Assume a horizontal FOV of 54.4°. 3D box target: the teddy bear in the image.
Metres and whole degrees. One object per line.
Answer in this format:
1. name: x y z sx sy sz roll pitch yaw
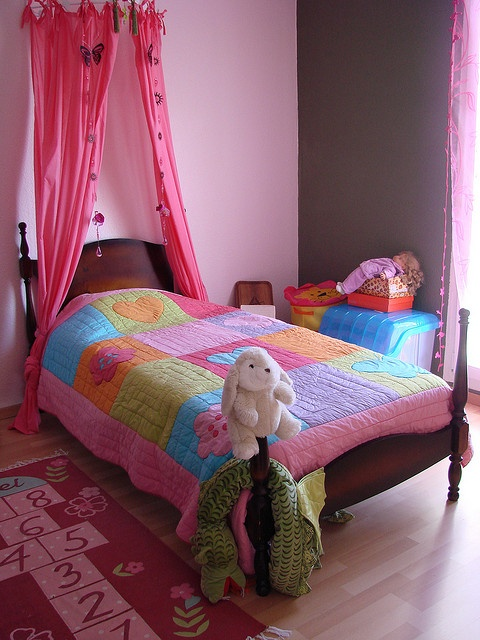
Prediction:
1. teddy bear: 0.047 0.233 1.381 0.211 0.286 0.146 -6 8 -41

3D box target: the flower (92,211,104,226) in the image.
1. flower: -0.994 -0.707 3.287 0.070 0.089 0.091 -2 8 -16

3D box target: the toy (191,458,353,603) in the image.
1. toy: 0.062 0.626 1.460 0.362 0.460 0.148 4 13 6

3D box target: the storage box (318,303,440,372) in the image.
1. storage box: 0.975 -0.086 3.274 0.595 0.644 0.481 15 22 41

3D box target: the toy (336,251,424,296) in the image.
1. toy: 1.018 -0.352 3.329 0.422 0.209 0.297 -15 22 3

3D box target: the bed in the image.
1. bed: -0.123 0.257 2.174 1.084 0.930 1.670 -17 25 -34
